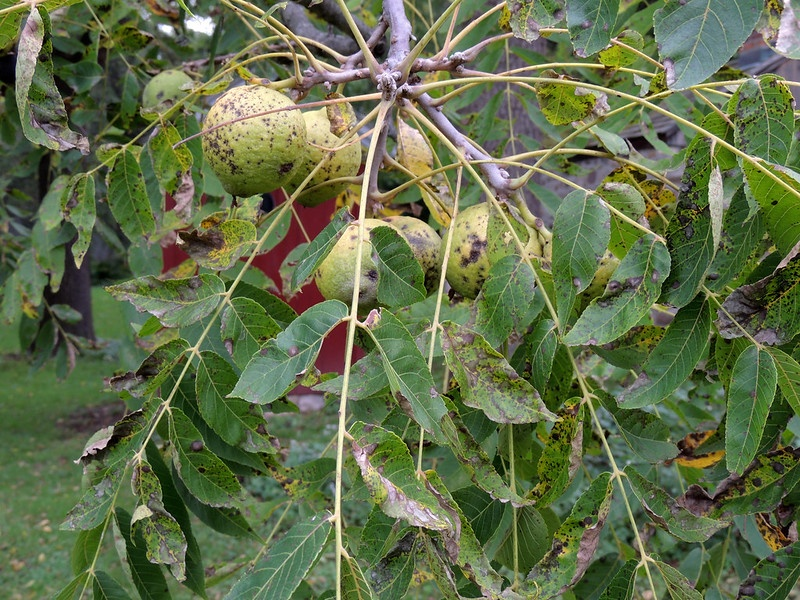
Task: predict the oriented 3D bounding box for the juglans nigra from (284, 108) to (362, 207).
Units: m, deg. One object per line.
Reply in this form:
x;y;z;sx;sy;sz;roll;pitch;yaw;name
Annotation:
-0.238;-0.453;2.874;0.259;0.274;0.371;3;97;-4;juglans nigra

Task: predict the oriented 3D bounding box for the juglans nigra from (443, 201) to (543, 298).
0.287;-0.135;2.731;0.244;0.274;0.337;3;90;7;juglans nigra

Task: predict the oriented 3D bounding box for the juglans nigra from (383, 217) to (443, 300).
0.082;-0.153;2.850;0.201;0.210;0.269;-11;92;31;juglans nigra

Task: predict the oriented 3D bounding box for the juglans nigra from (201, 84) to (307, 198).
-0.467;-0.500;2.770;0.308;0.332;0.409;-1;86;22;juglans nigra

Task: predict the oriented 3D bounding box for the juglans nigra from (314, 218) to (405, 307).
-0.149;-0.095;2.757;0.225;0.246;0.312;6;79;32;juglans nigra
